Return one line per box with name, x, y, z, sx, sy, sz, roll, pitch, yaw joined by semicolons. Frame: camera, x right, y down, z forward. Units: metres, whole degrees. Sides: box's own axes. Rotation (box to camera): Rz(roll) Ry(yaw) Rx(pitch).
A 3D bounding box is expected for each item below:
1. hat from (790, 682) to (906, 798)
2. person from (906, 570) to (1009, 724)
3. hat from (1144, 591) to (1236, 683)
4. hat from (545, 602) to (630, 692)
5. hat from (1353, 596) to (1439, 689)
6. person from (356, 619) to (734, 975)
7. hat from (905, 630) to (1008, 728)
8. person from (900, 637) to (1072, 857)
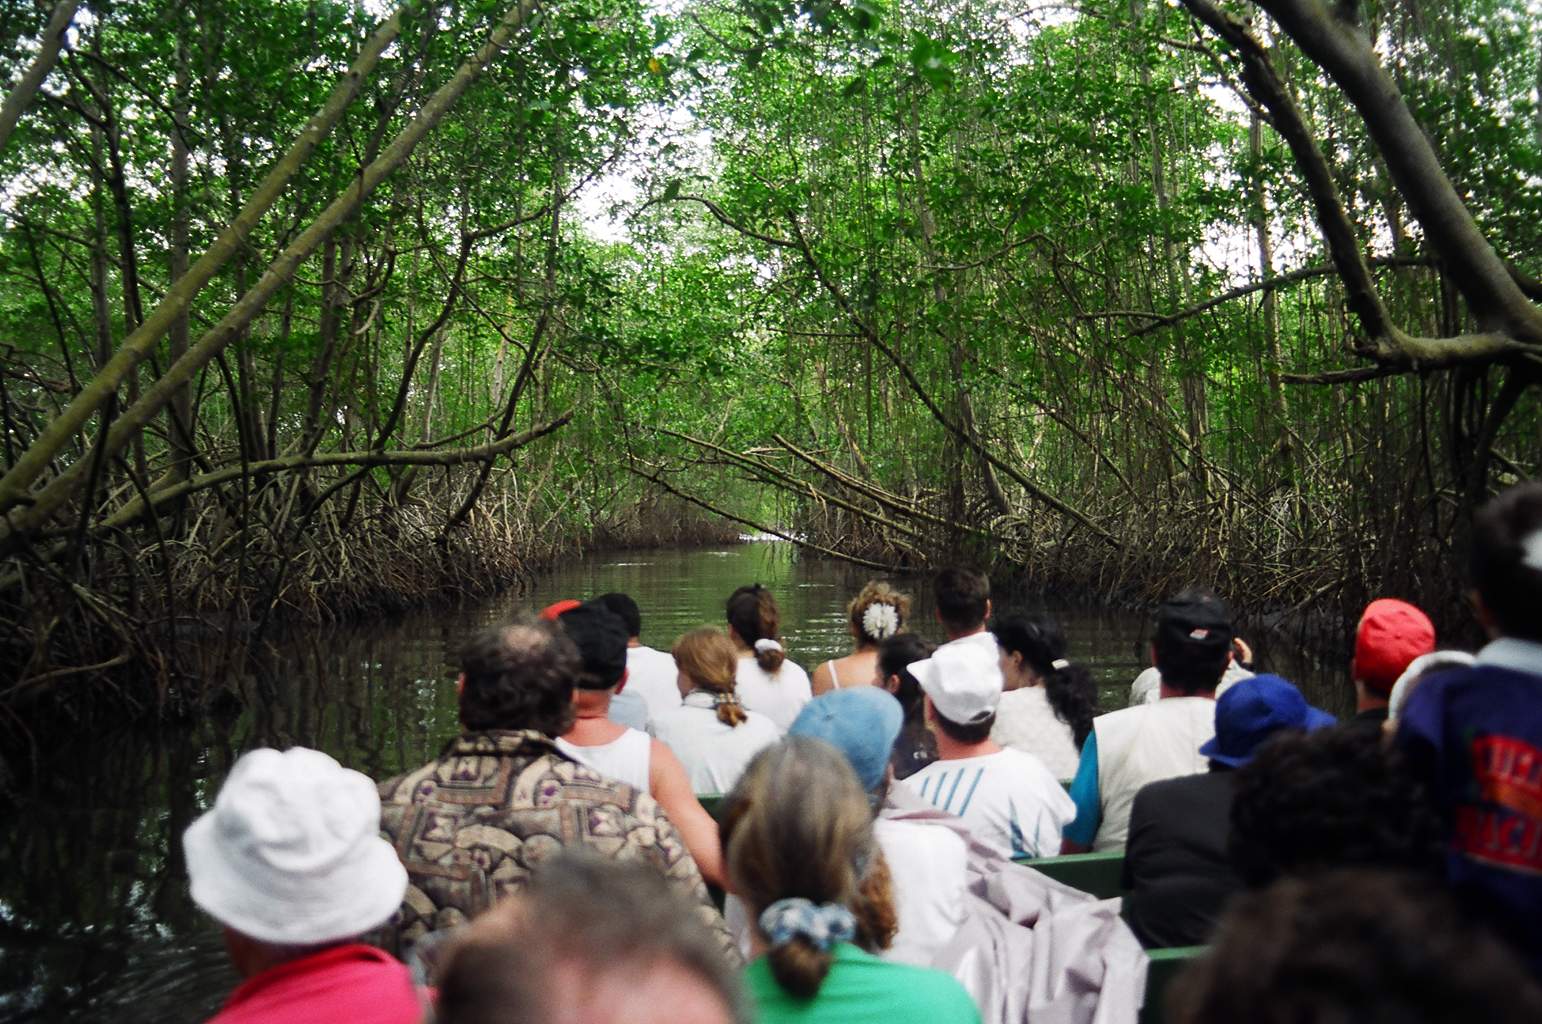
hat;0.382;1.005;5.686;0.366;0.307;0.547;1;25;8
person;0.975;0.747;6.427;0.448;0.441;0.851;-8;37;-9
hat;2.194;0.617;6.561;0.341;0.519;0.505;9;7;9
hat;-0.890;0.683;6.287;0.281;0.253;0.463;-3;17;-18
hat;3.070;0.626;6.236;0.324;0.423;0.466;10;34;17
person;-0.925;1.216;5.366;1.336;1.533;0.525;2;11;-7
hat;0.900;0.815;6.117;0.298;0.246;0.460;-4;34;-17
person;0.935;1.173;6.172;1.133;1.053;0.597;-2;-4;-6
